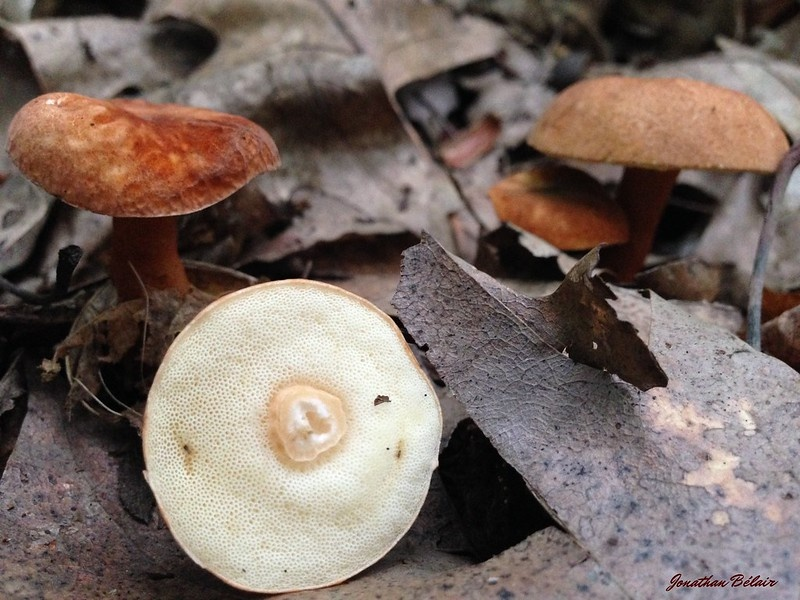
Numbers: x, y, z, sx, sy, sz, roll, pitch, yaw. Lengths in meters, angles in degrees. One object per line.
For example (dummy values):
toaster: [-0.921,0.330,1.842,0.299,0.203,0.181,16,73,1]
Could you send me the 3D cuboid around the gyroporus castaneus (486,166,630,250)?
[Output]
gyroporus castaneus: [0.635,-0.297,3.578,0.463,0.444,0.132,31,111,5]
